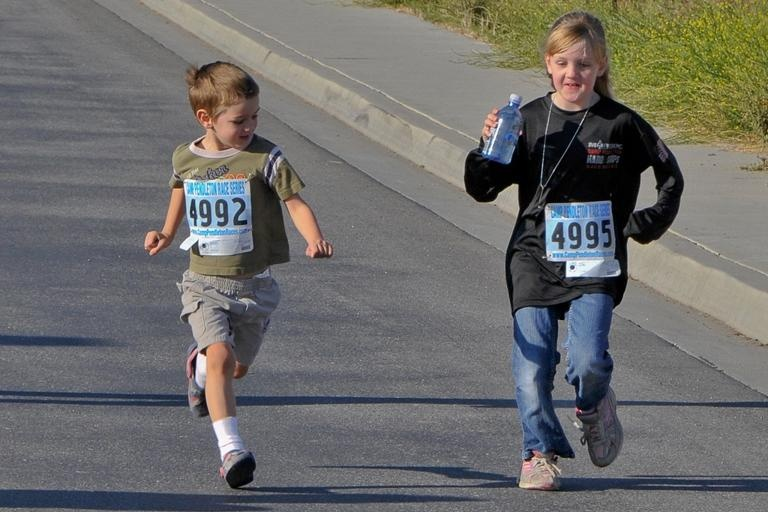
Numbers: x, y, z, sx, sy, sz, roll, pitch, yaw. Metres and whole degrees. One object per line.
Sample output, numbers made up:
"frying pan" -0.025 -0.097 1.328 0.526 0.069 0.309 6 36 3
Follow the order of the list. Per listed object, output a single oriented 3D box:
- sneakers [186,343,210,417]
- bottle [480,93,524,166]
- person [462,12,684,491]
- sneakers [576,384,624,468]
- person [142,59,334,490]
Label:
"sneakers" -1.283 0.858 9.520 0.184 0.464 0.218 4 6 15
"bottle" 0.791 -0.826 9.273 0.176 0.442 0.315 14 25 34
"person" 1.221 -0.047 9.311 1.161 2.950 1.263 10 23 26
"sneakers" 1.410 1.140 9.444 0.234 0.607 0.305 -11 -6 42
"person" -0.995 0.054 9.362 0.949 2.539 1.228 -15 25 -32
